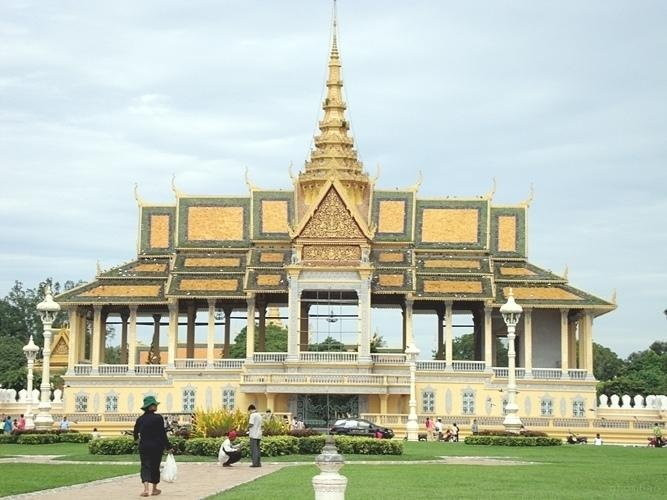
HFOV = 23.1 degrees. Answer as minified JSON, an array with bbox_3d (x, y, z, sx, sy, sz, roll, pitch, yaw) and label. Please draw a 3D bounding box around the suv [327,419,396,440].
[{"bbox_3d":[1.039,8.220,75.036,3.338,0.960,1.546,0,-4,-2],"label":"suv"}]
